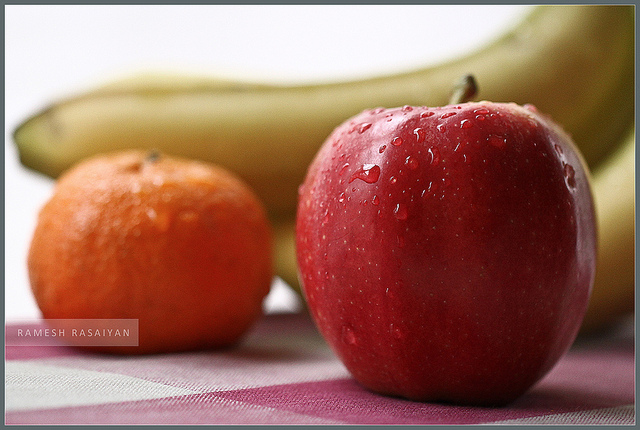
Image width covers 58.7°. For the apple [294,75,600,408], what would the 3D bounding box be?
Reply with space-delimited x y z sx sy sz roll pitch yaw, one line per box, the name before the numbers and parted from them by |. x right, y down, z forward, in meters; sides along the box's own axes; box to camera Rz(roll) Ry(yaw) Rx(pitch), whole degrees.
apple | 0.186 0.051 0.863 0.400 0.400 0.426 -1 83 15
